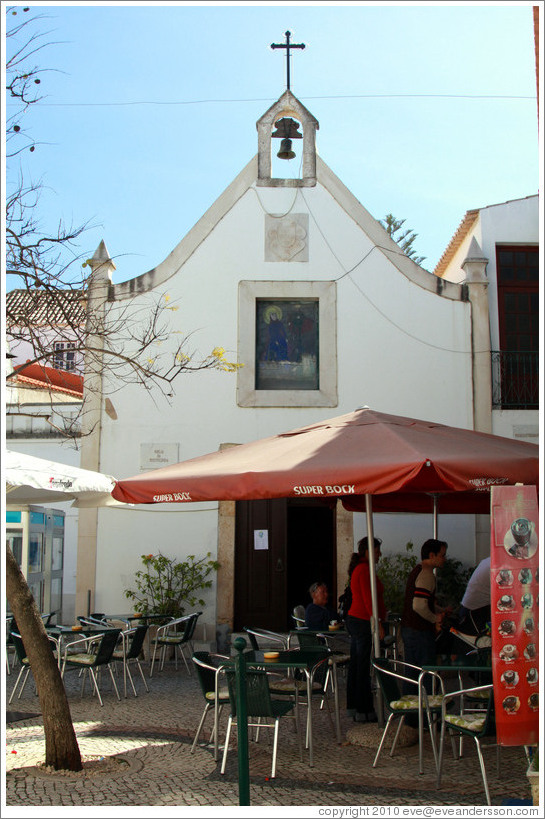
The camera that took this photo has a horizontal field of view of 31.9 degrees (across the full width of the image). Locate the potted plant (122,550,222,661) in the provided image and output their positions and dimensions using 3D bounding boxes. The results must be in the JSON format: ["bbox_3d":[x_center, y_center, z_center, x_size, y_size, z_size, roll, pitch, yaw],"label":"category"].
[{"bbox_3d":[-1.313,2.458,12.214,0.968,1.025,0.846,1,1,3],"label":"potted plant"}]

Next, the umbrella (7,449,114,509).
[{"bbox_3d":[-2.151,0.680,9.413,1.085,0.423,2.277,0,-9,-8],"label":"umbrella"}]
